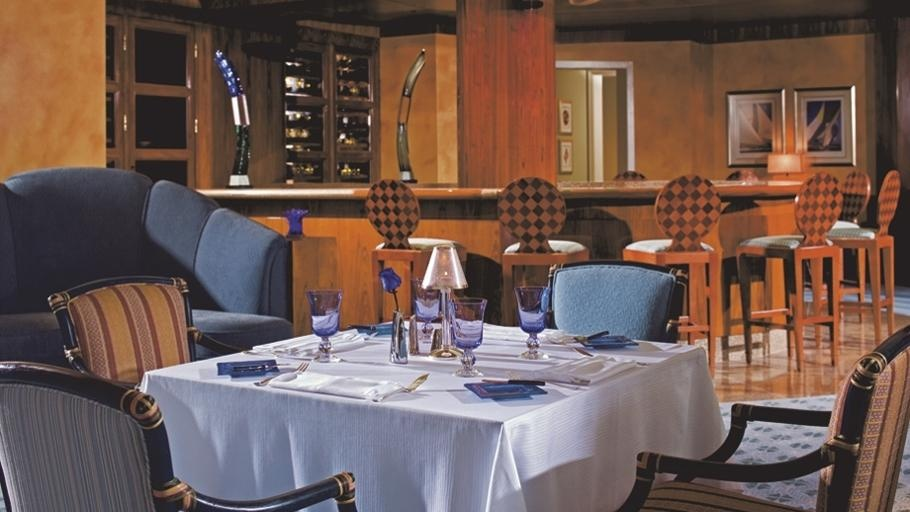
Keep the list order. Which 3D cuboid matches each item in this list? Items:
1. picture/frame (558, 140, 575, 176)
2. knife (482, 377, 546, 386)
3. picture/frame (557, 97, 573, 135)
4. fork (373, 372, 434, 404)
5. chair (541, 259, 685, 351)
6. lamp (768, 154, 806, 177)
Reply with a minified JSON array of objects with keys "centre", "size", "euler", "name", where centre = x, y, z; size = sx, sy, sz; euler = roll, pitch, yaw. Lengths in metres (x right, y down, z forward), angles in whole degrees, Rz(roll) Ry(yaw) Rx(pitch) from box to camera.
[{"centre":[1.610,-1.451,12.816],"size":[0.040,0.556,0.553],"euler":[1,1,27],"name":"picture/frame"},{"centre":[0.295,0.647,4.522],"size":[0.266,0.029,0.029],"euler":[-1,-17,16],"name":"knife"},{"centre":[1.567,-2.040,12.675],"size":[0.068,0.685,0.621],"euler":[0,0,28],"name":"picture/frame"},{"centre":[-0.252,0.658,4.509],"size":[0.093,0.074,0.406],"euler":[12,16,42],"name":"fork"},{"centre":[1.009,0.275,5.477],"size":[0.569,0.786,0.635],"euler":[1,-3,24],"name":"chair"},{"centre":[4.483,-1.244,11.872],"size":[0.420,0.280,0.312],"euler":[0,1,13],"name":"lamp"}]
